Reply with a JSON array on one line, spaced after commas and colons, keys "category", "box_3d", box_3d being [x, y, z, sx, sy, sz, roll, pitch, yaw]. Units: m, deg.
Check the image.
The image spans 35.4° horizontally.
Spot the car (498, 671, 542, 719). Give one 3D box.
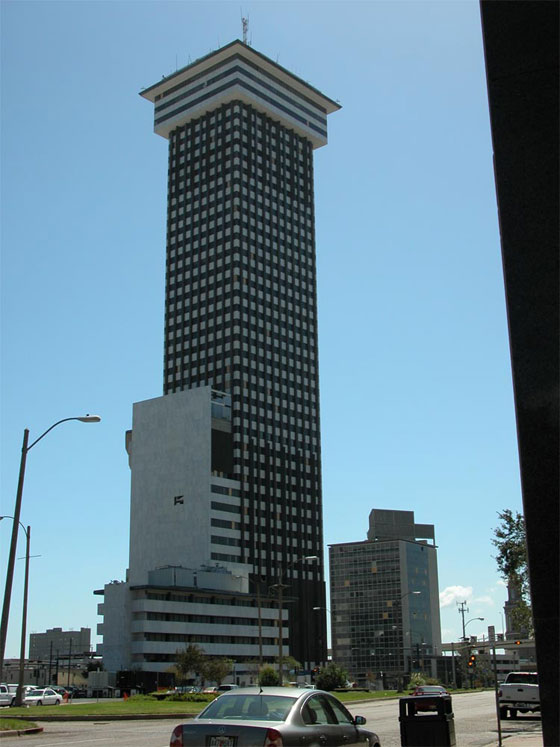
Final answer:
[{"category": "car", "box_3d": [9.143, 12.171, 33.688, 1.394, 1.625, 4.860, -6, -19, 13]}]
